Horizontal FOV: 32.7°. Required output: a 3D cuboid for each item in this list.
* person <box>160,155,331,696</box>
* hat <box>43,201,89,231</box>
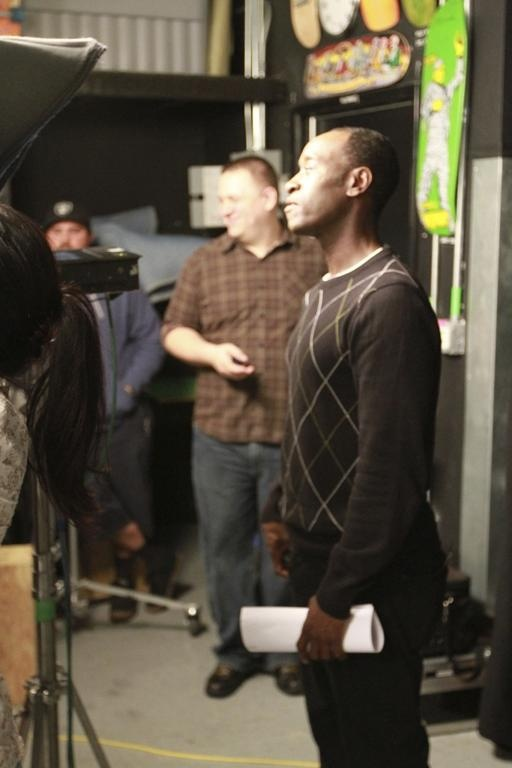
[{"bbox_3d":[0.004,0.128,2.143,0.492,1.353,0.393,-1,8,4],"label":"person"},{"bbox_3d":[-0.464,-0.418,2.153,0.106,0.064,0.152,1,-1,-5],"label":"hat"}]
